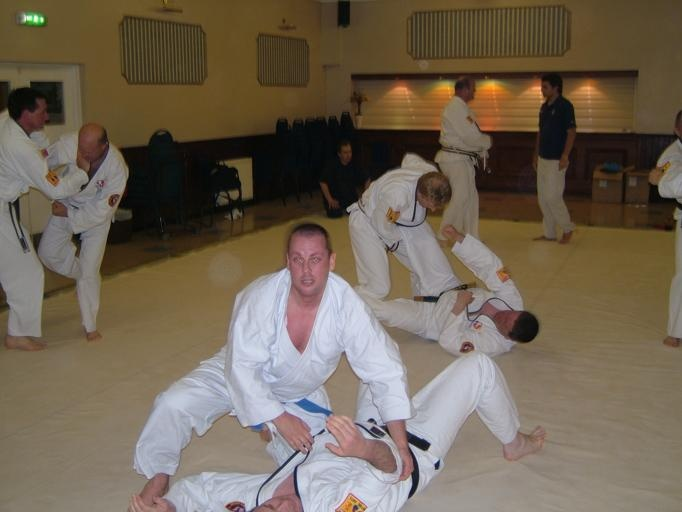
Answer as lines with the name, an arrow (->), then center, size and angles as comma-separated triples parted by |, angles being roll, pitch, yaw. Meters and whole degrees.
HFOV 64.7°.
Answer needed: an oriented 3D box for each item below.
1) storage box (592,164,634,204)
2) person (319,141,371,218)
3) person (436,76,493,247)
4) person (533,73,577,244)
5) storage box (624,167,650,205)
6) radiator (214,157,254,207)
storage box -> 3.637, -0.959, 7.257 | 0.411, 0.496, 0.449 | 6, 10, 26
person -> 0.071, -1.100, 7.644 | 0.641, 1.108, 0.695 | -2, -4, -4
person -> 1.418, -1.114, 6.262 | 0.621, 1.780, 0.627 | 1, 14, 7
person -> 2.612, -1.173, 6.518 | 0.446, 1.912, 0.677 | 4, 15, 17
storage box -> 3.911, -0.901, 7.139 | 0.296, 0.415, 0.364 | 7, 17, 28
radiator -> -1.702, -1.187, 8.784 | 0.153, 0.727, 0.703 | 7, 12, 32
